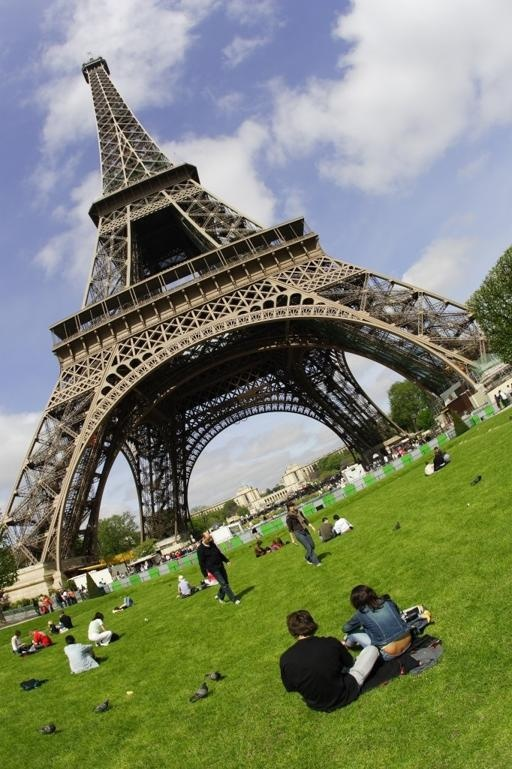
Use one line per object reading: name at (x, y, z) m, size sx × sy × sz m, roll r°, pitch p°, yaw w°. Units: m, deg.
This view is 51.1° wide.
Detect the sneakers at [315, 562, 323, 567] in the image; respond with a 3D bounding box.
sneakers at (1.378, 3.987, 11.597) m, size 0.097 × 0.124 × 0.073 m, roll 4°, pitch -50°, yaw -14°

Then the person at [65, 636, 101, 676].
person at (-3.458, 5.394, 10.605) m, size 0.470 × 0.734 × 0.820 m, roll -11°, pitch -15°, yaw -38°

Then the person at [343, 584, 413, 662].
person at (1.302, 2.626, 6.095) m, size 0.630 × 0.730 × 0.923 m, roll -25°, pitch -3°, yaw -3°

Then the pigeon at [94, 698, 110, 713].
pigeon at (-2.187, 4.652, 7.594) m, size 0.261 × 0.171 × 0.143 m, roll 7°, pitch -28°, yaw -18°

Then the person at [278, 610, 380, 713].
person at (0.724, 2.843, 5.502) m, size 0.910 × 0.641 × 0.506 m, roll -11°, pitch -16°, yaw -38°

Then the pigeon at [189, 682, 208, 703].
pigeon at (-0.738, 4.070, 6.912) m, size 0.258 × 0.171 × 0.262 m, roll -17°, pitch -12°, yaw -17°

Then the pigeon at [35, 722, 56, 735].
pigeon at (-2.879, 4.799, 7.348) m, size 0.302 × 0.146 × 0.137 m, roll -9°, pitch -22°, yaw 7°

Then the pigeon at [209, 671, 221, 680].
pigeon at (-0.532, 4.053, 7.294) m, size 0.162 × 0.118 × 0.118 m, roll -12°, pitch -16°, yaw 12°
